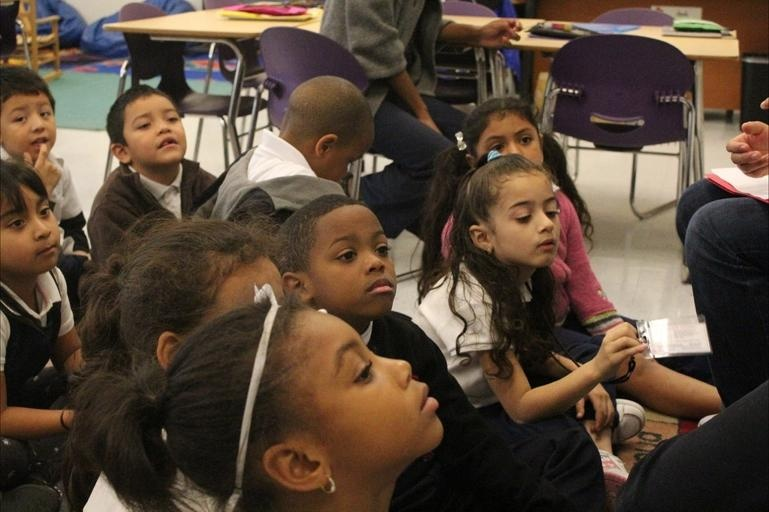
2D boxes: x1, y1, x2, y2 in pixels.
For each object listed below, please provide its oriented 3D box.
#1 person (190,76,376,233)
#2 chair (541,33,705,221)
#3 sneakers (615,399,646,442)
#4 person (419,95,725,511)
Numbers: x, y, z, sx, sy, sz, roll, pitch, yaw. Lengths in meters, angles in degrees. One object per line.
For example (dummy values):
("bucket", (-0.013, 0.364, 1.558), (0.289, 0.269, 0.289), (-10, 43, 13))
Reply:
("person", (-0.344, -0.369, 2.627), (0.544, 0.605, 0.779), (-1, 19, -35))
("chair", (1.089, -0.733, 3.507), (0.696, 1.188, 0.816), (4, 34, 12))
("sneakers", (0.780, 0.503, 2.264), (0.084, 0.078, 0.158), (15, 41, 19))
("person", (0.717, 0.088, 2.398), (0.546, 1.239, 1.202), (-31, 25, -27))
